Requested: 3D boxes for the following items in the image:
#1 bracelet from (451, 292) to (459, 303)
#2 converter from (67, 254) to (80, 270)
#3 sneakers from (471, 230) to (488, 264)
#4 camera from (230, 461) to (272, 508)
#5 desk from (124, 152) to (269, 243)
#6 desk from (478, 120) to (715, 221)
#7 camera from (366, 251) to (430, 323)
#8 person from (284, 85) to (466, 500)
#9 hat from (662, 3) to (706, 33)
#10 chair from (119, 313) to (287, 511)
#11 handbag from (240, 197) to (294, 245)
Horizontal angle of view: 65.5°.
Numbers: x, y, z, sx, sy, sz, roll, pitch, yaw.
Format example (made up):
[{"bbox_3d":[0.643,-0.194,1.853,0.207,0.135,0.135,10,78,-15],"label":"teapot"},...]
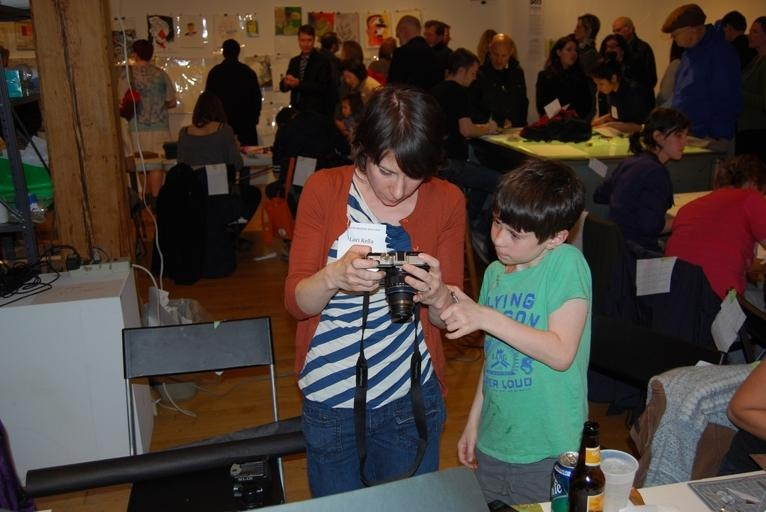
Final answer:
[{"bbox_3d":[0.278,0.162,2.289,0.020,0.039,0.009,-16,-3,-13],"label":"bracelet"},{"bbox_3d":[-1.881,0.041,3.572,0.078,0.080,0.077,1,-1,-13],"label":"converter"},{"bbox_3d":[0.949,-0.096,5.839,0.079,0.325,0.203,-12,-3,-24],"label":"sneakers"},{"bbox_3d":[-0.567,0.977,2.596,0.191,0.197,0.186,-1,6,-6],"label":"camera"},{"bbox_3d":[-2.302,-0.451,6.956,1.555,1.105,1.065,-2,19,-4],"label":"desk"},{"bbox_3d":[2.098,-0.928,5.674,1.101,0.865,1.634,-2,27,-9],"label":"desk"},{"bbox_3d":[0.051,0.128,2.199,0.212,0.252,0.094,1,-10,-6],"label":"camera"},{"bbox_3d":[-0.010,0.142,2.279,0.732,1.517,0.407,-5,14,-10],"label":"person"},{"bbox_3d":[3.112,-2.410,6.205,0.426,0.234,0.296,-1,29,18],"label":"hat"},{"bbox_3d":[-1.015,0.850,3.201,0.900,0.961,0.492,-3,22,-6],"label":"chair"},{"bbox_3d":[-1.272,-0.366,6.412,0.452,0.487,0.330,-13,42,-9],"label":"handbag"}]
